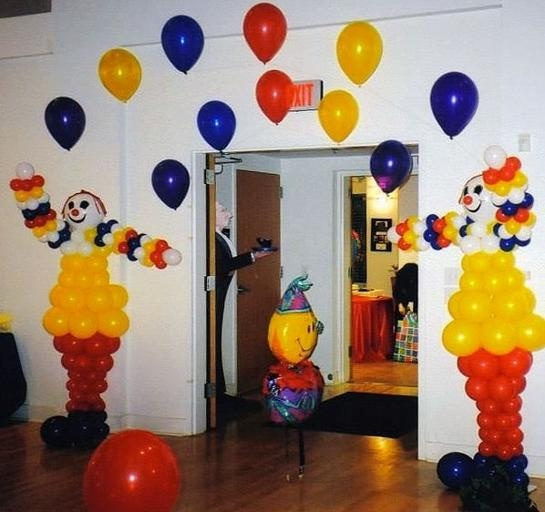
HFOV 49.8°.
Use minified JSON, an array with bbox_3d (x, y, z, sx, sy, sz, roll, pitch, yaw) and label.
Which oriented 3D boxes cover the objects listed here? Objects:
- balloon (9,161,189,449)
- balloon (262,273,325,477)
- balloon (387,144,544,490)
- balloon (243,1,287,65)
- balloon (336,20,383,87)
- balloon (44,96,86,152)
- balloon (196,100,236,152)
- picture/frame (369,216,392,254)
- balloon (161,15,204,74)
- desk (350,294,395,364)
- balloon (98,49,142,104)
[{"bbox_3d":[-1.284,0.381,4.172,0.993,2.037,0.424,0,-1,-2],"label":"balloon"},{"bbox_3d":[0.128,0.771,3.892,0.400,1.290,0.411,0,-1,3],"label":"balloon"},{"bbox_3d":[1.210,0.391,3.354,0.590,1.937,0.698,1,-1,-33],"label":"balloon"},{"bbox_3d":[-0.060,-1.526,4.034,0.294,0.449,0.335,4,13,19],"label":"balloon"},{"bbox_3d":[0.585,-1.383,3.990,0.300,0.460,0.331,0,4,-15],"label":"balloon"},{"bbox_3d":[-1.536,-1.065,4.586,0.292,0.468,0.358,-3,25,-9],"label":"balloon"},{"bbox_3d":[-0.415,-0.986,4.394,0.271,0.407,0.312,-20,22,-11],"label":"balloon"},{"bbox_3d":[1.763,-0.350,9.547,0.339,0.632,0.008,1,-30,12],"label":"picture/frame"},{"bbox_3d":[-0.606,-1.581,4.336,0.292,0.451,0.366,-4,35,-3],"label":"balloon"},{"bbox_3d":[1.151,0.994,8.047,0.676,0.828,0.704,2,4,-38],"label":"desk"},{"bbox_3d":[-1.133,-1.331,4.386,0.307,0.464,0.356,-5,12,-13],"label":"balloon"}]
